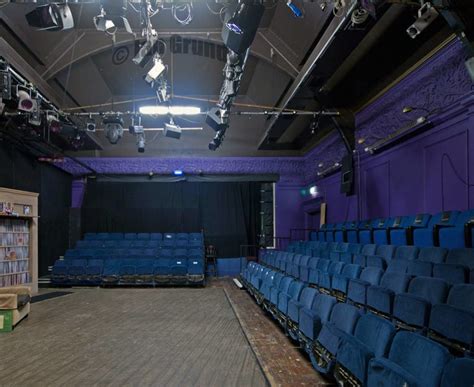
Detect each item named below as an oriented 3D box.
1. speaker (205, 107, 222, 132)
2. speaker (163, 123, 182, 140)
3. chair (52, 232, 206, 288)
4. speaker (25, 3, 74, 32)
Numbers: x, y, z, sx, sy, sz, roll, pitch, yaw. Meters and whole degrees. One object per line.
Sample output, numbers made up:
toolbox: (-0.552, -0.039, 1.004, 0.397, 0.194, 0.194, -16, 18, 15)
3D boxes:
speaker: (-0.479, -1.634, 6.767, 0.331, 0.545, 0.433, 0, -9, -5)
speaker: (-1.435, -1.438, 7.172, 0.358, 0.373, 0.379, 2, -10, -19)
chair: (-2.610, 1.684, 8.555, 3.696, 1.454, 2.274, -1, -10, 0)
speaker: (-2.560, -2.454, 4.472, 0.590, 0.415, 0.253, -9, 21, -6)
